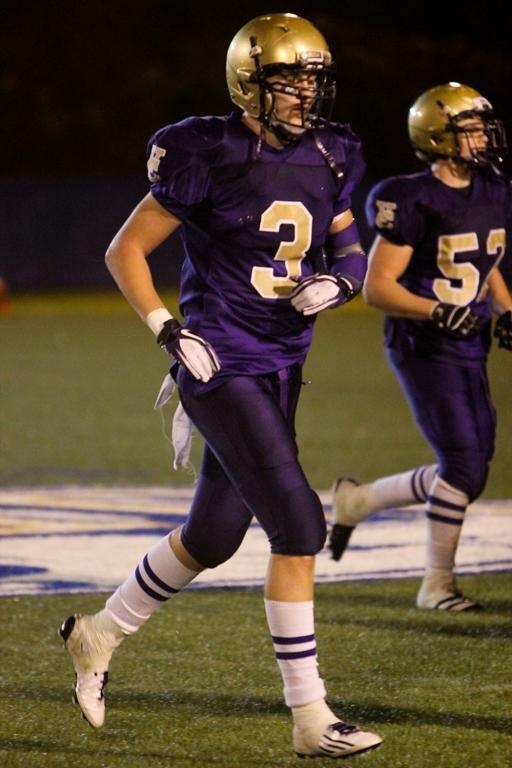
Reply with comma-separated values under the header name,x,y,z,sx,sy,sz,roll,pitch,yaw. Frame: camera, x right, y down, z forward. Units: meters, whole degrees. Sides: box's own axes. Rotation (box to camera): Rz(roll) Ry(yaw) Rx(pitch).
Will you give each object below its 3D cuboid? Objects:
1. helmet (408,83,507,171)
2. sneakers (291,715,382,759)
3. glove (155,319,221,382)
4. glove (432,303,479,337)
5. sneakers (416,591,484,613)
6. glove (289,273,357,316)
name,x,y,z,sx,sy,sz,roll,pitch,yaw
helmet,0.670,-0.857,2.913,0.394,0.267,0.278,6,10,32
sneakers,0.148,0.699,1.740,0.196,0.061,0.067,-7,-12,25
glove,-0.145,-0.074,1.936,0.165,0.100,0.076,46,22,26
glove,0.589,-0.198,2.609,0.124,0.052,0.095,12,-16,45
sneakers,0.631,0.705,2.857,0.197,0.062,0.072,-8,-13,21
glove,0.155,-0.209,2.031,0.091,0.036,0.154,16,18,22
